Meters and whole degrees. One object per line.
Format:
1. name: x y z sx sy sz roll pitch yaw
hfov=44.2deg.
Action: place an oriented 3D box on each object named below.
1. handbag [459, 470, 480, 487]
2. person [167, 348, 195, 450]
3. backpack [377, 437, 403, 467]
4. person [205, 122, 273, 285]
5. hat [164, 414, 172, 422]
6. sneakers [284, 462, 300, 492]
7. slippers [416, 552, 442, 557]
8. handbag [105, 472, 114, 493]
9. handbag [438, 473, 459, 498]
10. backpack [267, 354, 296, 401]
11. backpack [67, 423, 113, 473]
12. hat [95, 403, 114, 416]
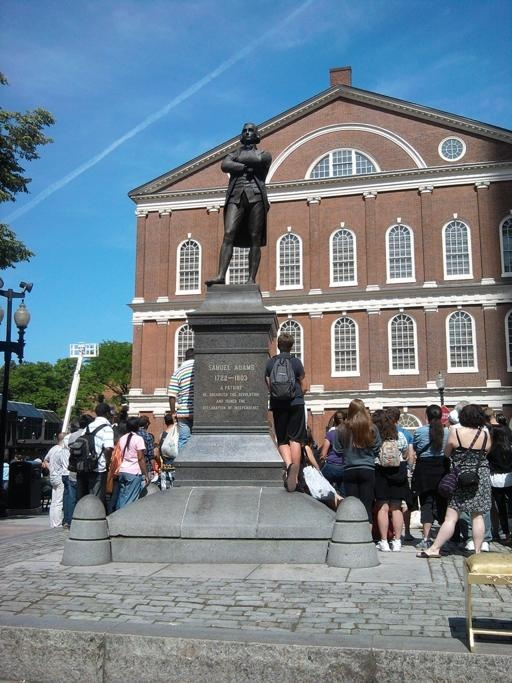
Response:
1. handbag: 2.053 1.323 6.060 0.165 0.141 0.084 1 -21 -8
2. person: -0.991 0.760 8.312 0.299 1.289 0.438 0 -8 -5
3. backpack: 1.550 1.295 7.370 0.396 0.415 0.235 2 -30 7
4. person: -0.194 -1.880 8.575 0.786 2.425 0.897 1 -8 -8
5. hat: -1.363 1.192 9.801 0.123 0.149 0.155 1 -11 -7
6. sneakers: 0.394 1.417 6.623 0.140 0.342 0.143 4 5 -15
7. slippers: 1.747 2.179 6.404 0.222 0.059 0.089 -1 -15 18
8. handbag: -2.010 1.944 8.677 0.080 0.257 0.229 2 -8 -16
9. handbag: 1.872 1.414 6.203 0.151 0.266 0.247 1 -8 -9
10. backpack: 0.291 0.388 7.022 0.299 0.467 0.254 0 10 4
11. backpack: -2.350 1.468 8.757 0.517 0.637 0.498 10 -13 -36
12. hat: -2.185 0.952 9.077 0.213 0.217 0.255 6 -42 -3
